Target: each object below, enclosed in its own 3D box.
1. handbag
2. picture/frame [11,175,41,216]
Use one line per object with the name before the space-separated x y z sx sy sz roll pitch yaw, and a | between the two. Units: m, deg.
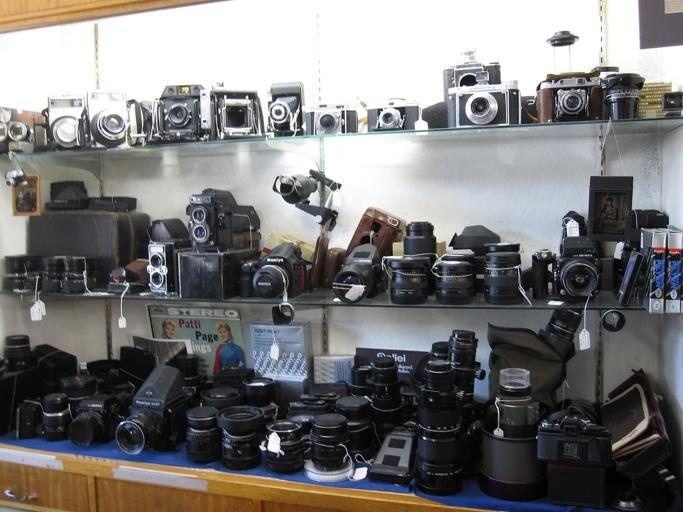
handbag | 1.336 0.767 2.785 0.329 0.124 0.441 -50 -2 34
picture/frame | -1.755 -0.338 3.357 0.213 0.283 0.045 2 5 5
